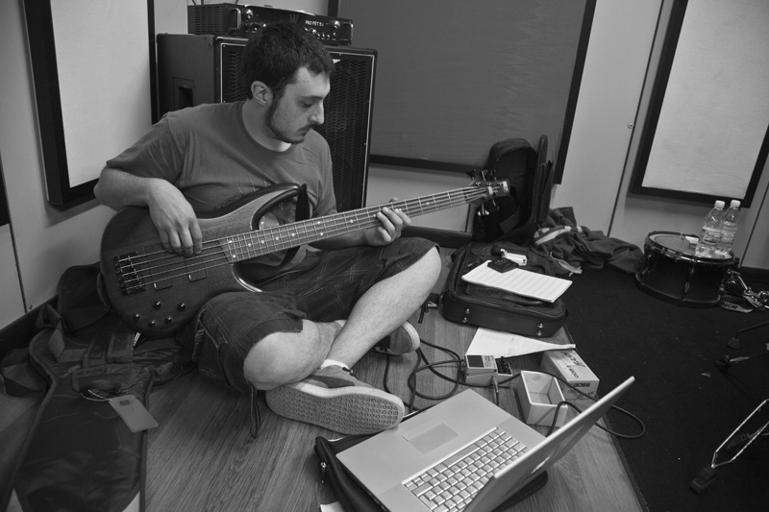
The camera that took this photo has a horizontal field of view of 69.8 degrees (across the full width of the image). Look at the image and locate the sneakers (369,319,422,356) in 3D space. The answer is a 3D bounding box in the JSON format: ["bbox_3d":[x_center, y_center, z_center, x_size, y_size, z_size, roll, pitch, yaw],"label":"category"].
[{"bbox_3d":[0.064,0.377,2.424,0.183,0.068,0.130,-19,1,-41],"label":"sneakers"}]

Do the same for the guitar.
[{"bbox_3d":[-0.407,-0.042,2.374,1.475,0.561,0.320,-10,29,-27],"label":"guitar"}]

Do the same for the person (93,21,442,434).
[{"bbox_3d":[-0.287,-0.167,2.284,1.272,1.357,1.100,19,19,30],"label":"person"}]

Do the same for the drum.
[{"bbox_3d":[1.750,0.094,3.294,0.420,0.264,0.426,4,26,-2],"label":"drum"}]

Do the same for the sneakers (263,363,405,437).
[{"bbox_3d":[-0.176,0.518,2.100,0.601,0.214,0.248,5,27,26],"label":"sneakers"}]
